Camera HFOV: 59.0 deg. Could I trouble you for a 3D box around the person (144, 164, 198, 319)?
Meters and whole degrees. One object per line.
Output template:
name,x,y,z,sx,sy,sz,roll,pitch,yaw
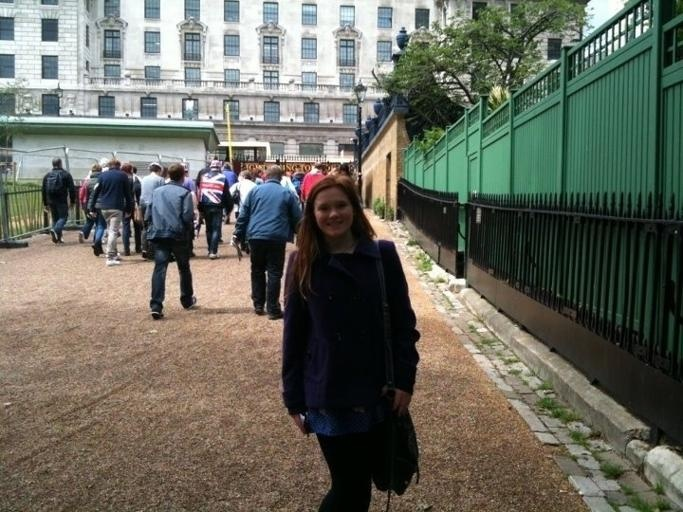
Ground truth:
person,-2.560,-0.264,9.077,0.705,2.224,0.954,-4,7,-20

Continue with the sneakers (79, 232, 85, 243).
sneakers,-7.333,-0.526,17.119,0.097,0.302,0.132,4,31,-2

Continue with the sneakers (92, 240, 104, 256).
sneakers,-5.732,-0.082,14.224,0.174,0.520,0.229,13,35,5

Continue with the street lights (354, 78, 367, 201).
street lights,0.847,-5.725,27.803,0.563,4.418,0.530,-1,9,-6

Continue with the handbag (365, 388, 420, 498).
handbag,0.335,0.999,3.391,0.229,0.626,0.235,5,18,-1

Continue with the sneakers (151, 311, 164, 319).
sneakers,-2.649,0.841,8.729,0.166,0.134,0.183,-4,8,-21

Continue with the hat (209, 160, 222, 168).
hat,-2.798,-2.057,13.543,0.220,0.198,0.400,6,9,-3

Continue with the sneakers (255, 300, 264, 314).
sneakers,-1.227,0.763,9.066,0.172,0.278,0.140,0,-2,-10

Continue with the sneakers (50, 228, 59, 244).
sneakers,-8.021,-0.556,16.990,0.160,0.506,0.195,-4,17,-1
